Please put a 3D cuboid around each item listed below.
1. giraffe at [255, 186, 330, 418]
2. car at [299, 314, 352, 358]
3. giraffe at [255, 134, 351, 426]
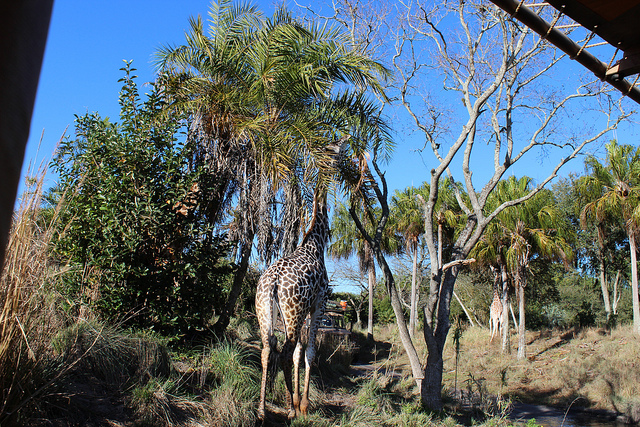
[{"bbox_3d":[-0.650,2.211,12.835,1.554,5.438,3.400,4,-22,-3],"label":"giraffe"},{"bbox_3d":[0.172,4.185,18.838,1.323,1.414,2.607,14,-4,28],"label":"car"},{"bbox_3d":[-0.521,1.686,13.217,1.728,7.218,3.252,3,-22,1],"label":"giraffe"}]
